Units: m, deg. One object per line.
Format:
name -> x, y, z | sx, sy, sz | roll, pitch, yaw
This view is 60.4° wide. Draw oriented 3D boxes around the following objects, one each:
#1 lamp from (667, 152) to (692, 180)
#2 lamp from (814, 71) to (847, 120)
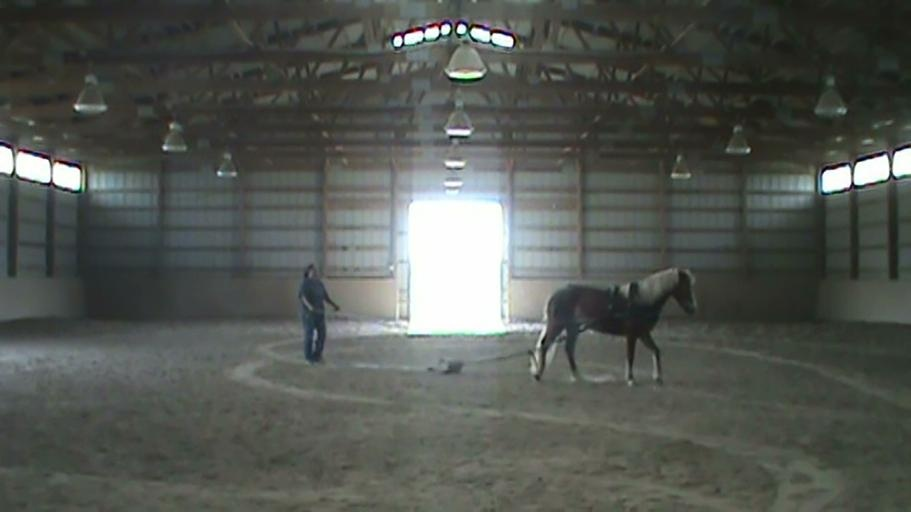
lamp -> 5.519, -2.159, 19.070 | 0.654, 0.709, 0.673 | -1, -2, 14
lamp -> 8.988, -3.883, 18.685 | 0.723, 1.046, 0.572 | 0, 0, -40
